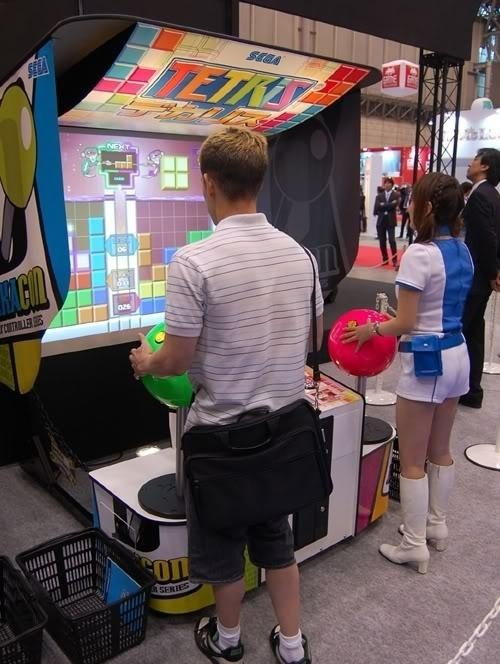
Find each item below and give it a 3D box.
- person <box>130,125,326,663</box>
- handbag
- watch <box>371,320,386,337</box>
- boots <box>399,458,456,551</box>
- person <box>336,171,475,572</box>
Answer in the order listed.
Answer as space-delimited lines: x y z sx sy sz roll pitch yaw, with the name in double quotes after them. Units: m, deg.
-0.028 0.252 1.143 0.416 1.339 0.335 -5 9 -32 "person"
0.008 0.261 1.059 0.285 0.278 0.158 -13 21 -10 "handbag"
0.436 -0.004 1.690 0.044 0.049 0.030 6 1 -35 "watch"
0.637 0.672 1.914 0.271 0.426 0.123 -4 16 -4 "boots"
0.581 0.173 1.730 0.314 1.376 0.431 8 11 43 "person"
